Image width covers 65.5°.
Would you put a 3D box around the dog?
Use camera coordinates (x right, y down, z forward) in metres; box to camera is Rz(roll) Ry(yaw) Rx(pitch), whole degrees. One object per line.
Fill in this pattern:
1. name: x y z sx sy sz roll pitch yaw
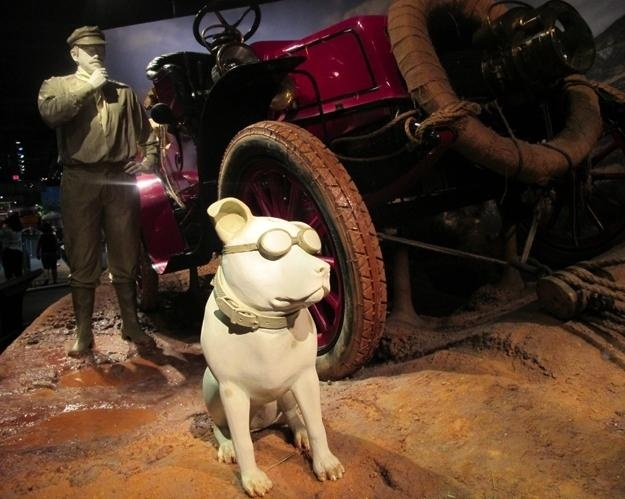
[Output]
1. dog: -0.209 0.386 2.177 0.590 1.232 0.503 -6 11 -16
